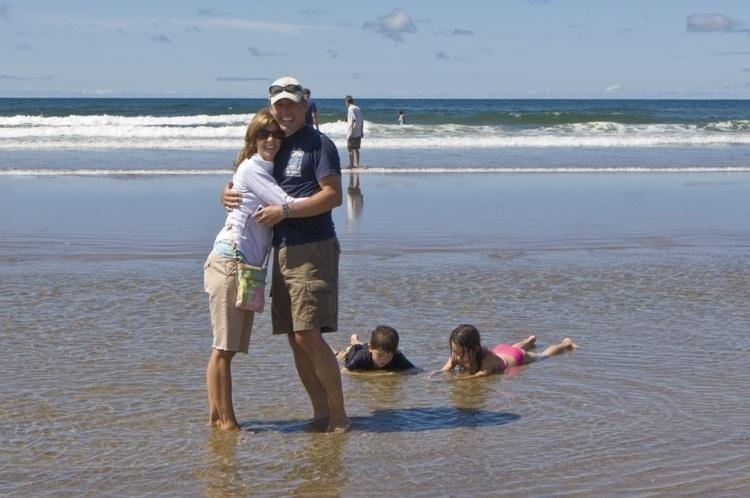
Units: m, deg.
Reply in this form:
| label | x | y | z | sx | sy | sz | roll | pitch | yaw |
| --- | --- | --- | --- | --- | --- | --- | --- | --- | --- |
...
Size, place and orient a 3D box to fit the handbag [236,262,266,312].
| label | x | y | z | sx | sy | sz | roll | pitch | yaw |
| --- | --- | --- | --- | --- | --- | --- | --- | --- | --- |
| handbag | -1.241 | 0.380 | 9.423 | 0.286 | 0.515 | 0.163 | 1 | 11 | -2 |

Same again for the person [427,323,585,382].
| label | x | y | z | sx | sy | sz | roll | pitch | yaw |
| --- | --- | --- | --- | --- | --- | --- | --- | --- | --- |
| person | 1.605 | 1.204 | 11.001 | 1.805 | 0.408 | 0.641 | -4 | -8 | -32 |

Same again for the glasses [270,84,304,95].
| label | x | y | z | sx | sy | sz | roll | pitch | yaw |
| --- | --- | --- | --- | --- | --- | --- | --- | --- | --- |
| glasses | -0.871 | -1.571 | 9.410 | 0.334 | 0.108 | 0.154 | 0 | 9 | -5 |
